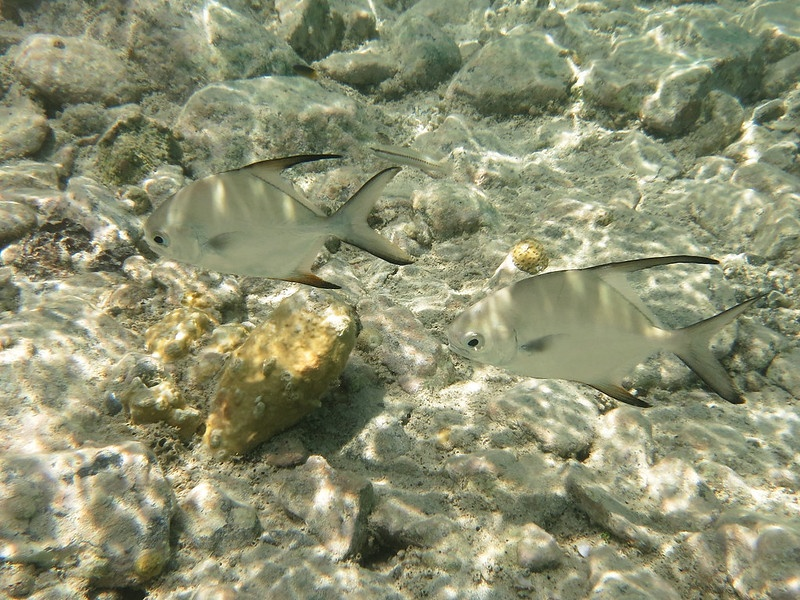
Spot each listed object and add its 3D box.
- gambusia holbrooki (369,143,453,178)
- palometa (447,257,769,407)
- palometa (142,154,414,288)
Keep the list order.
[{"bbox_3d":[0.064,-1.656,9.394,0.724,0.386,0.875,12,20,33],"label":"gambusia holbrooki"},{"bbox_3d":[1.675,0.268,6.919,2.354,1.229,0.418,2,11,13],"label":"palometa"},{"bbox_3d":[-1.145,-0.672,7.188,2.396,1.149,0.475,-1,25,10],"label":"palometa"}]
